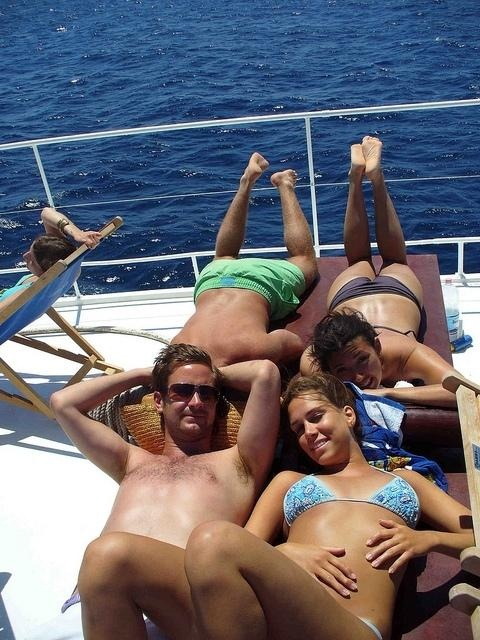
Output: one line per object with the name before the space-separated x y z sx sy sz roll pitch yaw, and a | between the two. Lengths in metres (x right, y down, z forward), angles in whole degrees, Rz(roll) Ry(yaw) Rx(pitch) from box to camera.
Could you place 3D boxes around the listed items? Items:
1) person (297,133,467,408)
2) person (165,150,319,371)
person | 0.562 -0.096 3.040 0.937 1.352 0.510 -6 24 -3
person | 0.082 -0.239 3.092 0.527 0.456 1.056 4 63 25
